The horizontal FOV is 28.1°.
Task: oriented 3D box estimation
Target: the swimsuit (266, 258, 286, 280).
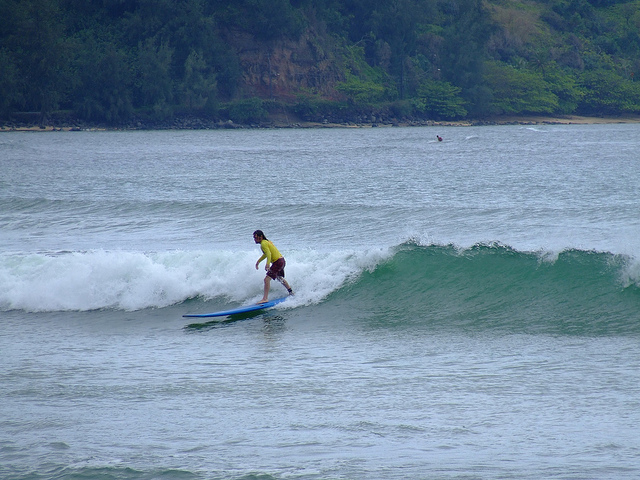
[{"bbox_3d":[-2.911,1.889,85.787,0.750,1.232,1.345,32,21,32],"label":"swimsuit"}]
